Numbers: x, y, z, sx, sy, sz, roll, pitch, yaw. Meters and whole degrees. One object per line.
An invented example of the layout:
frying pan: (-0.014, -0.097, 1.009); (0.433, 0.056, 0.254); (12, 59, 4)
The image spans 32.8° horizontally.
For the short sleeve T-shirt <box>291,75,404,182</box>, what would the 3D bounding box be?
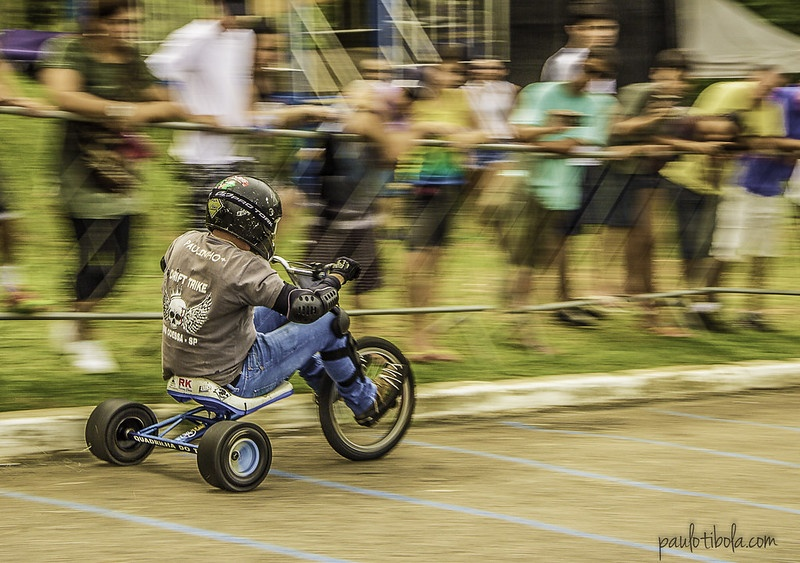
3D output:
short sleeve T-shirt: (-0.262, -1.086, 10.825); (0.661, 0.878, 0.917); (8, 21, 22)

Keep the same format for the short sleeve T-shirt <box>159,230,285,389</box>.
short sleeve T-shirt: (-1.214, 0.199, 9.246); (1.197, 0.751, 0.608); (16, 20, 36)

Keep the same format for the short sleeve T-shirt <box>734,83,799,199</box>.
short sleeve T-shirt: (3.398, -1.259, 12.335); (1.100, 0.851, 0.298); (-3, 13, -42)

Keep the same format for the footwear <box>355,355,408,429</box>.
footwear: (-0.100, 0.792, 9.833); (0.563, 0.264, 0.253); (-54, 19, -23)

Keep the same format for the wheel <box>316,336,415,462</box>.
wheel: (-0.269, 0.841, 9.739); (0.885, 0.749, 0.232); (-24, 20, -27)

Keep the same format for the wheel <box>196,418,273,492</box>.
wheel: (-1.131, 1.174, 9.159); (0.252, 0.397, 0.508); (-2, -15, 44)

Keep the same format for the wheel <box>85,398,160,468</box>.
wheel: (-1.952, 1.068, 9.500); (0.500, 0.401, 0.261); (-21, 13, -33)

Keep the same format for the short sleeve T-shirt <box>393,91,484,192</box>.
short sleeve T-shirt: (0.340, -1.179, 11.114); (0.348, 0.769, 0.942); (13, 2, -26)
